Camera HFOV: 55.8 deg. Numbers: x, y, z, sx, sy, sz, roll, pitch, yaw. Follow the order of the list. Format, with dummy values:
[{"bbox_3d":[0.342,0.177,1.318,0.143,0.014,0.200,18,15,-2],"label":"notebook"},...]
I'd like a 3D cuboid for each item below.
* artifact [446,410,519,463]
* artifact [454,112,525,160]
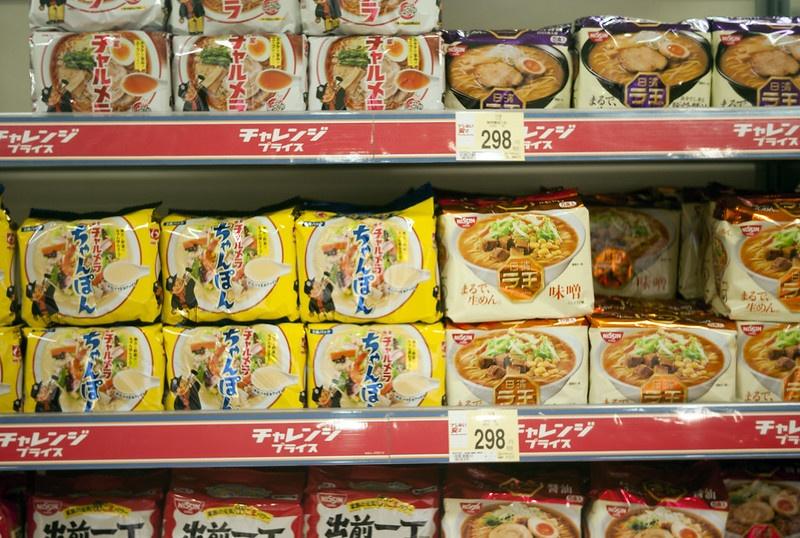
[{"bbox_3d":[0.241,0.489,2.233,0.310,0.178,0.153,0,-5,0],"label":"artifact"},{"bbox_3d":[0.260,-0.446,2.224,0.262,0.148,0.055,0,2,-1],"label":"artifact"}]
